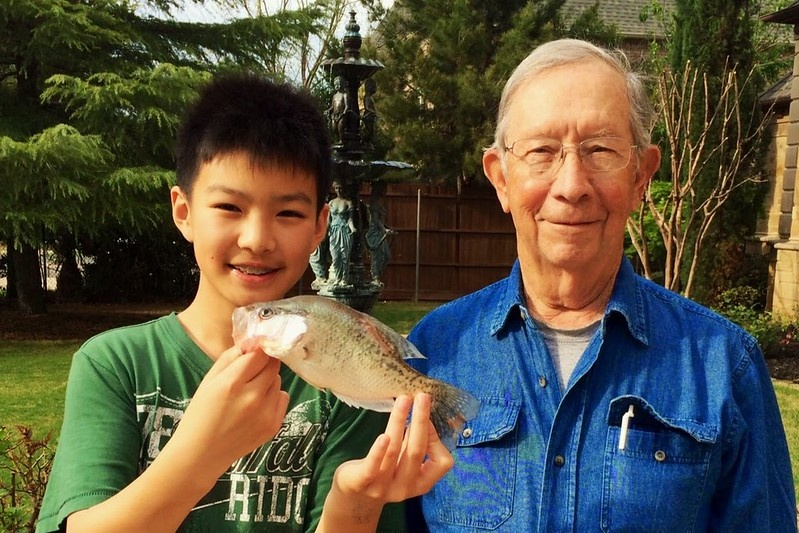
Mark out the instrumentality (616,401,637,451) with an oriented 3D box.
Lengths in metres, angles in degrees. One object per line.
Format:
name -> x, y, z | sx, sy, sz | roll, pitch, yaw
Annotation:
instrumentality -> 1.045, 0.753, 3.526 | 0.059, 0.210, 0.059 | 7, -6, 9
